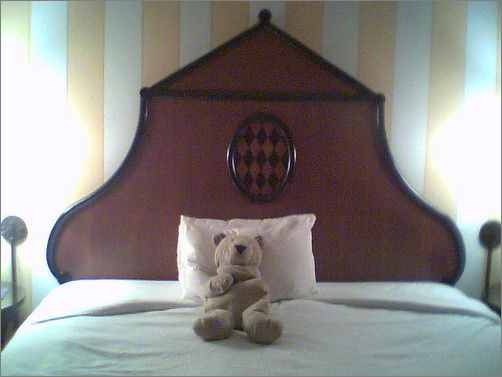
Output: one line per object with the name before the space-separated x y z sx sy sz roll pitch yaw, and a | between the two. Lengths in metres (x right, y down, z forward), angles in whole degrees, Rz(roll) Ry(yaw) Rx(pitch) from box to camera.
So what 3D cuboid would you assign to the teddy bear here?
teddy bear | -0.059 0.469 2.172 0.399 0.530 0.416 2 -10 -1
